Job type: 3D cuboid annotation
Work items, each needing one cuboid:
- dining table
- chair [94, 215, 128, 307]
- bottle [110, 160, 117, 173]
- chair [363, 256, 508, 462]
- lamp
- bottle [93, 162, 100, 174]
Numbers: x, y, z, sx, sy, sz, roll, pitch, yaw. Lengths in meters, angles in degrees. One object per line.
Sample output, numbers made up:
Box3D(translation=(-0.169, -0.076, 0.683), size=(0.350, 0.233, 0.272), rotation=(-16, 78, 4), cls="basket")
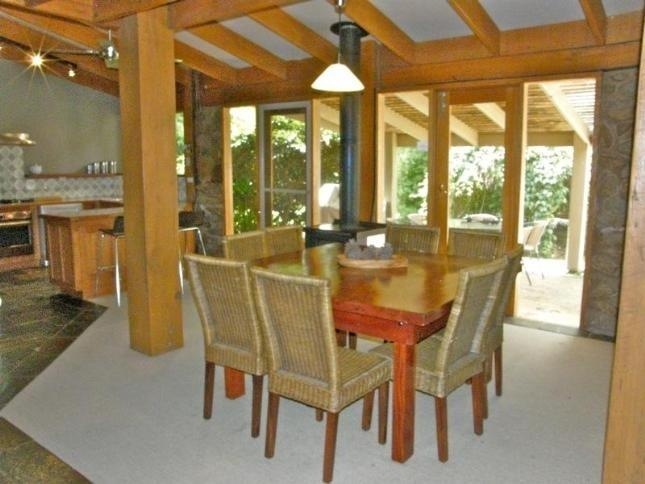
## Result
Box3D(translation=(0.522, 0.500, 3.626), size=(1.384, 0.902, 1.428), rotation=(7, 11, 37), cls="dining table")
Box3D(translation=(-2.421, 0.148, 6.188), size=(0.365, 0.902, 0.352), rotation=(1, 1, 3), cls="chair")
Box3D(translation=(-3.568, -1.308, 9.147), size=(0.103, 0.225, 0.352), rotation=(-5, 14, -20), cls="bottle")
Box3D(translation=(0.779, 0.683, 3.573), size=(0.765, 1.281, 0.806), rotation=(8, 18, 35), cls="chair")
Box3D(translation=(0.136, -1.489, 4.148), size=(0.378, 0.609, 0.853), rotation=(1, 14, 4), cls="lamp")
Box3D(translation=(-3.724, -1.252, 8.858), size=(0.111, 0.153, 0.092), rotation=(-7, 15, -24), cls="bottle")
